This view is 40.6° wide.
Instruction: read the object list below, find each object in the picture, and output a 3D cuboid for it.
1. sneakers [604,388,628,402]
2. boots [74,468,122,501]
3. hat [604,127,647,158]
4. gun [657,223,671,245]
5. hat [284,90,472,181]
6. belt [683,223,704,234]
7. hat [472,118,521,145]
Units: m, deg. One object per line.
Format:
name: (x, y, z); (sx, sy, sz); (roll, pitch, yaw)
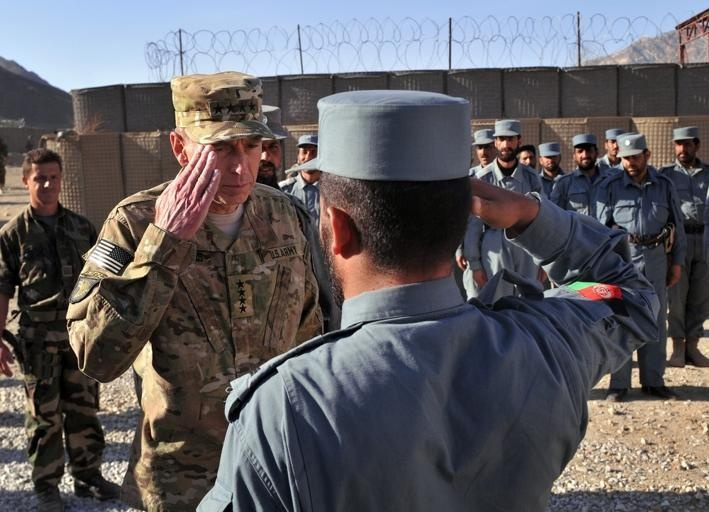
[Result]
sneakers: (2.603, 1.397, 9.605); (0.091, 0.129, 0.296); (-2, -11, 33)
boots: (-2.115, 1.895, 8.124); (0.400, 0.337, 0.212); (0, 8, -8)
hat: (2.913, -1.181, 9.988); (0.373, 0.224, 0.285); (-14, 11, -35)
gun: (3.178, -0.227, 9.880); (0.065, 0.189, 0.132); (12, 10, -28)
hat: (0.196, -0.628, 4.983); (0.583, 0.317, 0.478); (8, 10, 32)
belt: (3.799, -0.313, 10.821); (0.144, 0.162, 0.038); (2, -4, 34)
hat: (1.742, -1.475, 11.032); (0.600, 0.249, 0.450); (-18, 15, -38)
